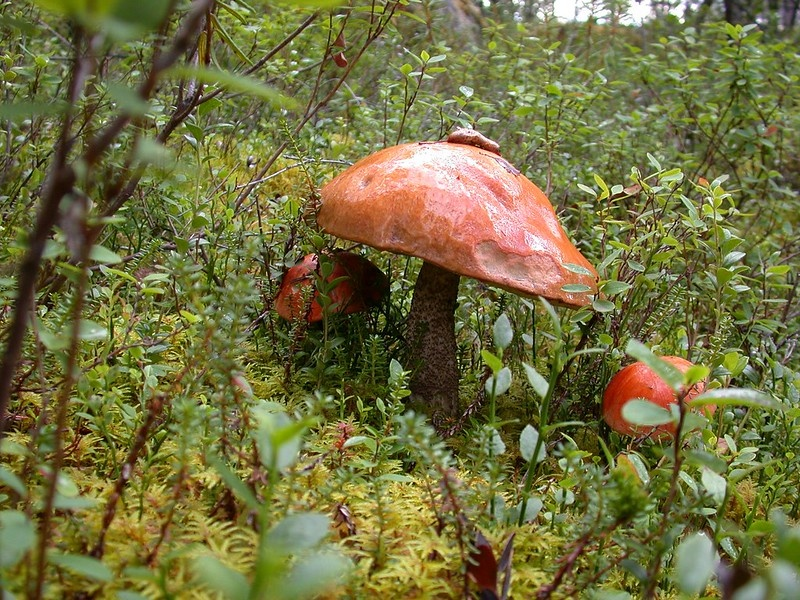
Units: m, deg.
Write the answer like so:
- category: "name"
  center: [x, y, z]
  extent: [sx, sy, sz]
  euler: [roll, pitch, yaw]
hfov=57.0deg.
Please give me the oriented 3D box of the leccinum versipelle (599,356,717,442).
- category: "leccinum versipelle"
  center: [0.970, 0.358, 2.751]
  extent: [0.389, 0.279, 0.381]
  euler: [-11, 4, -42]

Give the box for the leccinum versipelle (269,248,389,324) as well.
- category: "leccinum versipelle"
  center: [-0.281, -0.099, 2.765]
  extent: [0.393, 0.151, 0.395]
  euler: [4, -19, 26]
